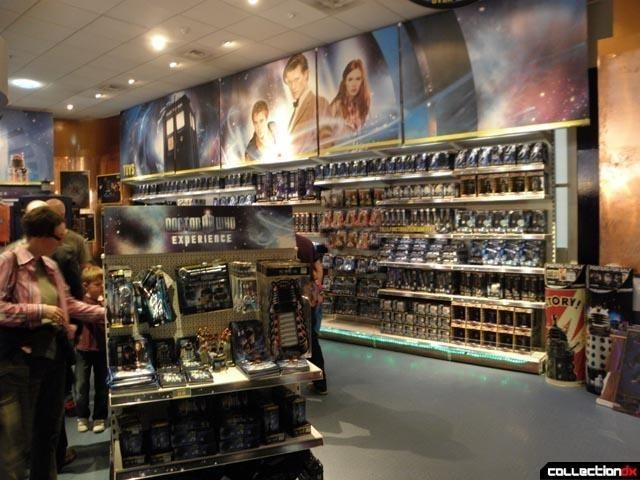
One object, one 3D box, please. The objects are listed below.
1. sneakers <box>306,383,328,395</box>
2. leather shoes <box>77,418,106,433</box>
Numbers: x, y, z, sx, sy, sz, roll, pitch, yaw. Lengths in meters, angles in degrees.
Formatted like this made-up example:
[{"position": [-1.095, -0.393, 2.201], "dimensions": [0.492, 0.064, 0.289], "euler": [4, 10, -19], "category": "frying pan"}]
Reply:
[{"position": [-0.026, 1.677, 5.528], "dimensions": [0.093, 0.128, 0.262], "euler": [5, -5, -34], "category": "sneakers"}, {"position": [-2.219, 1.805, 4.726], "dimensions": [0.190, 0.076, 0.149], "euler": [6, 8, -18], "category": "leather shoes"}]
